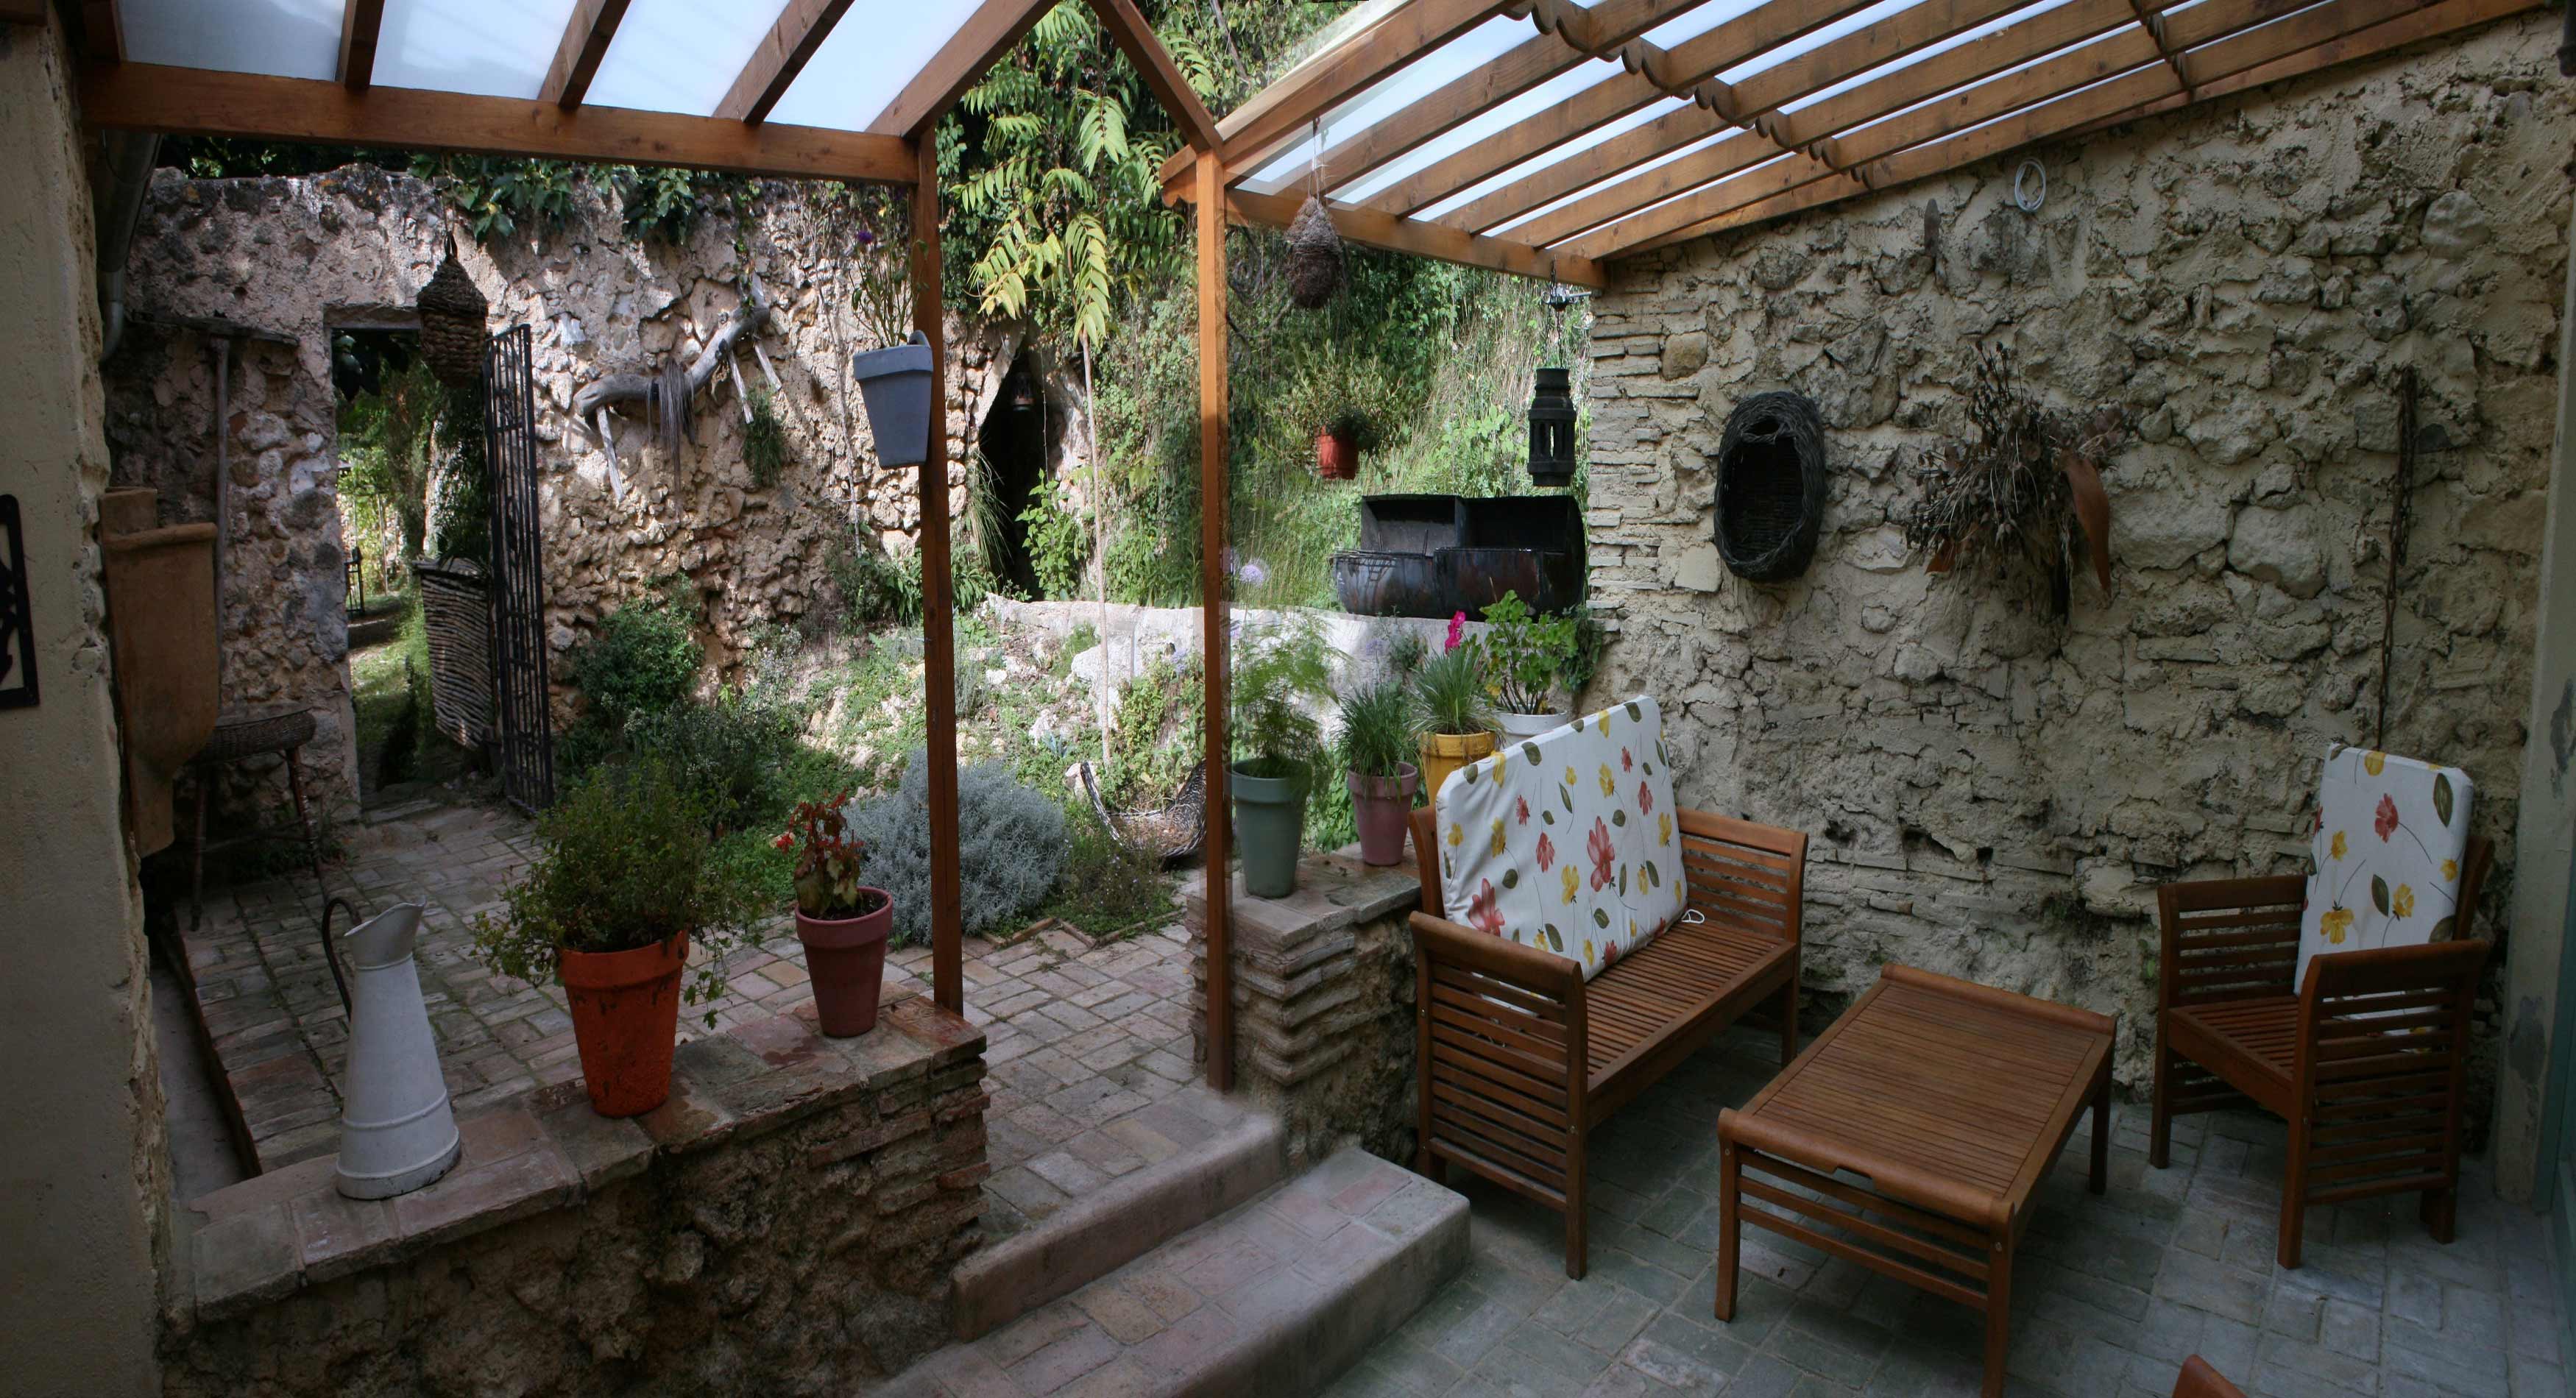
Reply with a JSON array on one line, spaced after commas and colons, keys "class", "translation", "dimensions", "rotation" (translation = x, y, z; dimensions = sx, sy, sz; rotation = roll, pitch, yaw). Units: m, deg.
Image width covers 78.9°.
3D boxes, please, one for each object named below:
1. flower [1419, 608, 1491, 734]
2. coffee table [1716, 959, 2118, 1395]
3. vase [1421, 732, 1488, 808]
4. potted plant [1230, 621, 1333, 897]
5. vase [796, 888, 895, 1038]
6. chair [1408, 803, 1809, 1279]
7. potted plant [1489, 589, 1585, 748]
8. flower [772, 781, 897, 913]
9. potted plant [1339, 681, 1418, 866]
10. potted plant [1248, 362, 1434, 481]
[{"class": "flower", "translation": [0.914, -0.162, 8.702], "dimensions": [0.382, 0.607, 0.954], "rotation": [0, 8, 7]}, {"class": "coffee table", "translation": [2.883, 2.579, 7.303], "dimensions": [1.431, 1.100, 2.183], "rotation": [9, 26, 35]}, {"class": "vase", "translation": [0.881, 0.362, 8.246], "dimensions": [0.330, 0.344, 0.347], "rotation": [0, 3, -11]}, {"class": "potted plant", "translation": [-0.243, 0.307, 7.874], "dimensions": [0.557, 1.176, 0.609], "rotation": [14, -9, -36]}, {"class": "vase", "translation": [-1.905, 1.146, 6.723], "dimensions": [0.432, 0.488, 0.428], "rotation": [1, 6, 16]}, {"class": "chair", "translation": [1.456, 1.659, 7.432], "dimensions": [0.746, 1.344, 1.927], "rotation": [6, 13, 39]}, {"class": "potted plant", "translation": [1.373, -0.203, 8.907], "dimensions": [0.525, 0.794, 0.747], "rotation": [3, 8, 24]}, {"class": "flower", "translation": [-2.008, 0.705, 6.732], "dimensions": [0.412, 0.525, 0.396], "rotation": [1, 1, -26]}, {"class": "potted plant", "translation": [0.464, 0.383, 8.061], "dimensions": [0.373, 0.869, 0.499], "rotation": [-1, 7, 0]}, {"class": "potted plant", "translation": [0.380, -2.476, 13.828], "dimensions": [1.697, 1.067, 0.452], "rotation": [-5, 8, -31]}]
